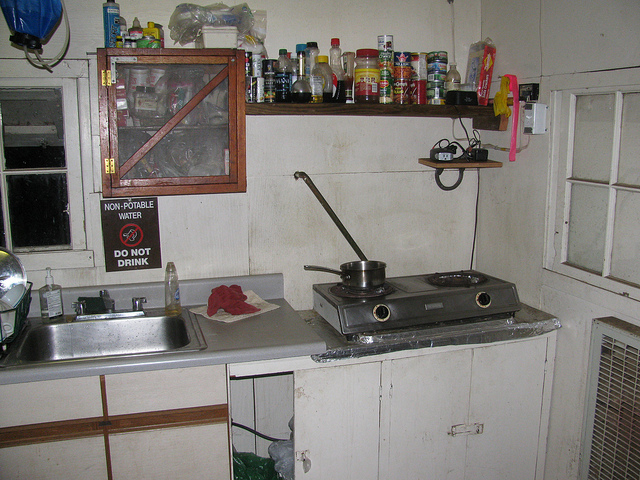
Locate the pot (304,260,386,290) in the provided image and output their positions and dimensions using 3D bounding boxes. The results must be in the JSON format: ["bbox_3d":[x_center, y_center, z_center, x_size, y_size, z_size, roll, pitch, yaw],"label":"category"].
[{"bbox_3d":[0.170,0.185,3.029,0.318,0.107,0.180,-4,6,-10],"label":"pot"}]

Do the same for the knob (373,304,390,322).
[{"bbox_3d":[0.297,0.355,2.853,0.081,0.081,0.031,-5,9,-16],"label":"knob"}]

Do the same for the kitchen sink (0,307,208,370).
[{"bbox_3d":[-1.004,0.491,2.828,0.903,0.200,0.525,-4,10,-9],"label":"kitchen sink"}]

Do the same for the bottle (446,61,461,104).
[{"bbox_3d":[0.727,-0.863,3.217,0.082,0.216,0.082,-2,9,0],"label":"bottle"}]

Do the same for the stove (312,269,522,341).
[{"bbox_3d":[0.503,0.316,3.092,1.020,0.210,0.410,-5,10,-14],"label":"stove"}]

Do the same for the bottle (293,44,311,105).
[{"bbox_3d":[-0.099,-0.839,2.958,0.086,0.309,0.174,-3,9,-1],"label":"bottle"}]

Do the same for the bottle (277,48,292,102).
[{"bbox_3d":[-0.175,-0.808,2.934,0.082,0.227,0.060,-6,10,-19],"label":"bottle"}]

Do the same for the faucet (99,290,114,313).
[{"bbox_3d":[-1.080,0.310,2.973,0.031,0.105,0.076,-8,3,-7],"label":"faucet"}]

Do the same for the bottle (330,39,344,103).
[{"bbox_3d":[0.087,-0.879,3.044,0.068,0.320,0.136,-2,9,2],"label":"bottle"}]

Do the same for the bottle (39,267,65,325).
[{"bbox_3d":[-1.356,0.269,2.969,0.098,0.262,0.195,-3,9,-6],"label":"bottle"}]

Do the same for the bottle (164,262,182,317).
[{"bbox_3d":[-0.770,0.251,3.049,0.076,0.259,0.163,-5,9,-14],"label":"bottle"}]
